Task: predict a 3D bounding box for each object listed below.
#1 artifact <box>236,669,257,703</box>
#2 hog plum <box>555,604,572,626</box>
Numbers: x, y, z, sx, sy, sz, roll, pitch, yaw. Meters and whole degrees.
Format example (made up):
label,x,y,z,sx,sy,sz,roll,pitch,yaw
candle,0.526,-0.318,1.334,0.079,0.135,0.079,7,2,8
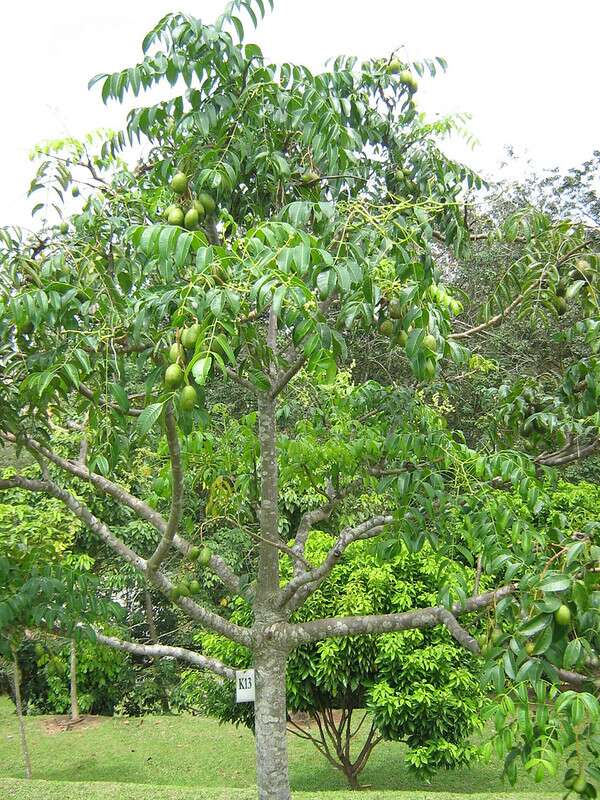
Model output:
label,x,y,z,sx,sy,sz,roll,pitch,yaw
artifact,-0.289,1.525,3.807,0.102,0.158,0.093,4,-12,-12
hog plum,0.736,0.602,2.000,0.040,0.061,0.041,7,-34,-1
